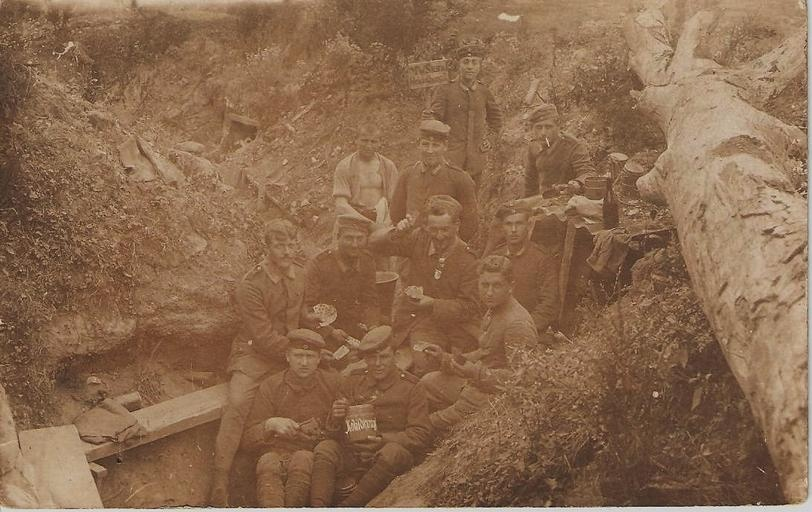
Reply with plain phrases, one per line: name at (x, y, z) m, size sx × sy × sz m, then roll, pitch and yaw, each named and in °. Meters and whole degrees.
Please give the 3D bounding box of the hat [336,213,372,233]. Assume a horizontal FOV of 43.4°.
hat at (-0.652, -0.402, 12.667) m, size 0.323 × 0.138 × 0.252 m, roll -5°, pitch -3°, yaw 35°

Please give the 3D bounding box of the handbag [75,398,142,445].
handbag at (-3.593, 2.014, 12.286) m, size 0.752 × 0.360 × 0.431 m, roll -12°, pitch 30°, yaw -9°

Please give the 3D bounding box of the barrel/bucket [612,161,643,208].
barrel/bucket at (2.750, -0.886, 12.619) m, size 0.471 × 0.444 × 0.452 m, roll 0°, pitch 19°, yaw 0°

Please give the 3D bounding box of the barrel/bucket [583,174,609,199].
barrel/bucket at (2.371, -0.860, 12.629) m, size 0.292 × 0.226 × 0.306 m, roll -1°, pitch 10°, yaw 0°

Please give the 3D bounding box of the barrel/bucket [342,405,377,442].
barrel/bucket at (-0.593, 2.068, 12.502) m, size 0.405 × 0.417 × 0.399 m, roll -4°, pitch -17°, yaw -1°

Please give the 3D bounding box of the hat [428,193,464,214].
hat at (0.477, -0.646, 12.700) m, size 0.336 × 0.124 × 0.238 m, roll 8°, pitch 29°, yaw 13°
